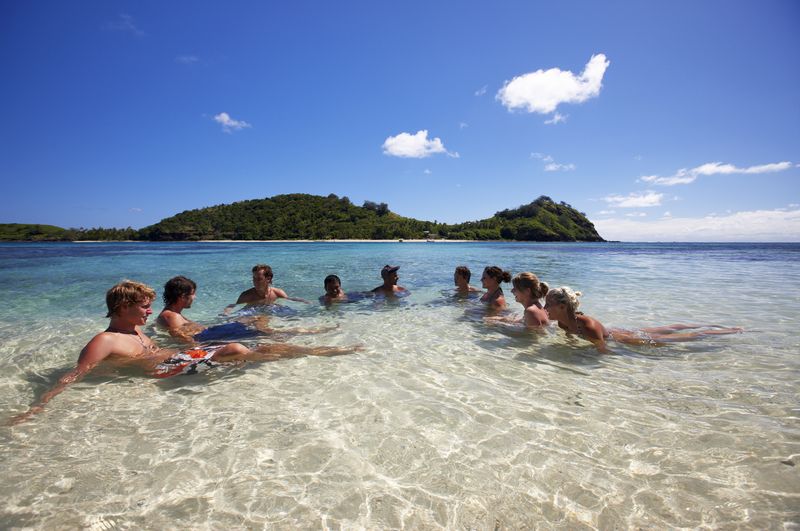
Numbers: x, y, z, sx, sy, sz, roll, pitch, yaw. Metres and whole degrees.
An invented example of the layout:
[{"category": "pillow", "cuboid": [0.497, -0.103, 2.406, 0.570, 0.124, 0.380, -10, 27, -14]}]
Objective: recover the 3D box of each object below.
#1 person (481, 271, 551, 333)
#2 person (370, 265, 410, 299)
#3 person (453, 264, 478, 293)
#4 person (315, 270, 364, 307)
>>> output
[{"category": "person", "cuboid": [2.570, 0.981, 10.340, 1.540, 1.252, 1.056, 3, 7, 11]}, {"category": "person", "cuboid": [-0.367, 0.671, 14.148, 0.912, 1.081, 1.281, -1, 5, 8]}, {"category": "person", "cuboid": [2.051, 0.617, 14.555, 0.658, 0.940, 1.499, -1, 4, 8]}, {"category": "person", "cuboid": [-1.908, 0.865, 13.371, 1.256, 0.622, 0.933, 4, 15, 42]}]
